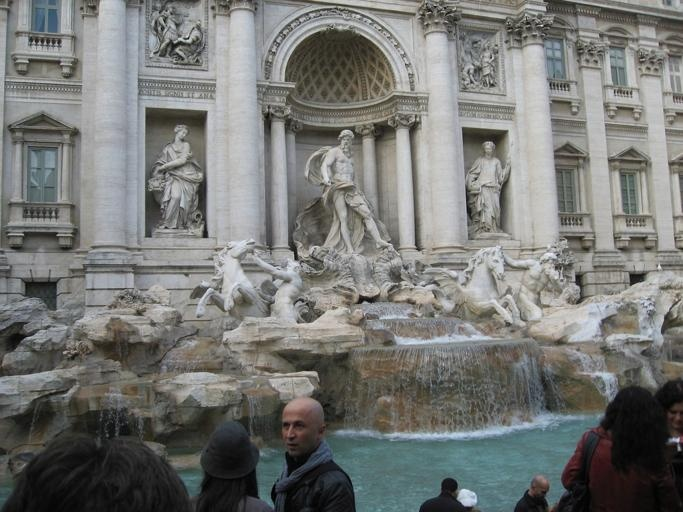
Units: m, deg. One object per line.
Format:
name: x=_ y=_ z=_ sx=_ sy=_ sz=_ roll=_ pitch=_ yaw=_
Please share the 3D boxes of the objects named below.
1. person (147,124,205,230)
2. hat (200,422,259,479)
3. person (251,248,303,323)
person: x=-4.775 y=-2.242 z=20.353 sx=1.478 sy=3.220 sz=0.521 roll=1 pitch=-6 yaw=-10
hat: x=-0.969 y=1.634 z=6.043 sx=0.486 sy=0.284 sz=0.656 roll=4 pitch=16 yaw=0
person: x=-1.639 y=0.782 z=17.413 sx=1.155 sy=1.591 sz=0.734 roll=12 pitch=-50 yaw=-8
